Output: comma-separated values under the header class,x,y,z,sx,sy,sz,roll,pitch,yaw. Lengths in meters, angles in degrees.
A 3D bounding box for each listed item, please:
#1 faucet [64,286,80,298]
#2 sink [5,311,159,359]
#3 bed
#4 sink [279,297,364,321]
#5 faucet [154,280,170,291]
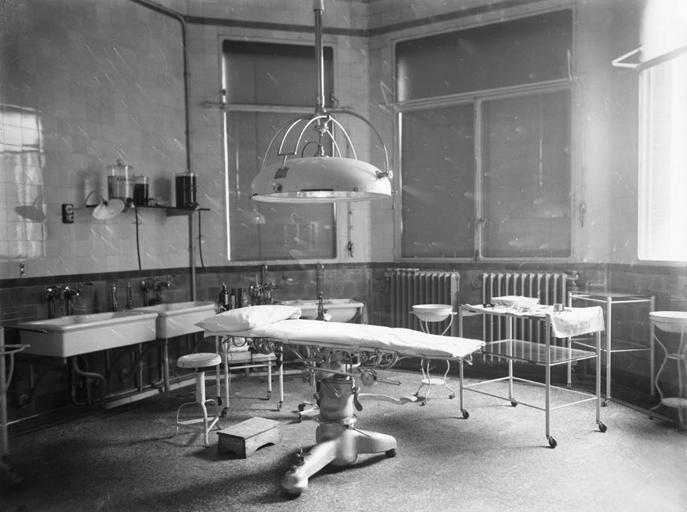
class,x,y,z,sx,sy,sz,roll,pitch,yaw
faucet,-2.721,0.362,6.794,0.176,0.126,0.118,-1,0,-37
sink,-2.483,0.758,6.618,0.619,0.449,1.164,-1,0,37
bed,-0.081,1.194,5.753,2.215,1.190,1.369,2,-1,23
sink,-0.233,0.654,7.785,0.825,0.245,1.263,-1,0,17
faucet,-2.008,0.320,7.499,0.140,0.071,0.076,3,0,20
